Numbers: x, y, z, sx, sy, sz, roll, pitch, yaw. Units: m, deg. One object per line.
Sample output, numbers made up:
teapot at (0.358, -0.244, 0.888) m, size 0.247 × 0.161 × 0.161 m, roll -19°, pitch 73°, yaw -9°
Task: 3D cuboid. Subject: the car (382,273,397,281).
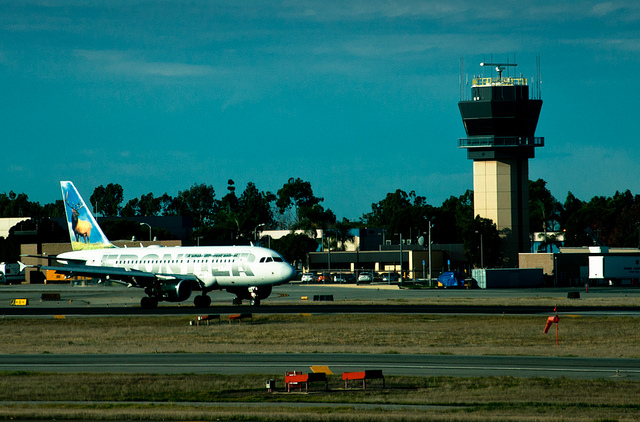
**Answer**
car at (11.607, 10.070, 260.624) m, size 1.513 × 1.059 × 1.087 m, roll 0°, pitch -5°, yaw -7°
